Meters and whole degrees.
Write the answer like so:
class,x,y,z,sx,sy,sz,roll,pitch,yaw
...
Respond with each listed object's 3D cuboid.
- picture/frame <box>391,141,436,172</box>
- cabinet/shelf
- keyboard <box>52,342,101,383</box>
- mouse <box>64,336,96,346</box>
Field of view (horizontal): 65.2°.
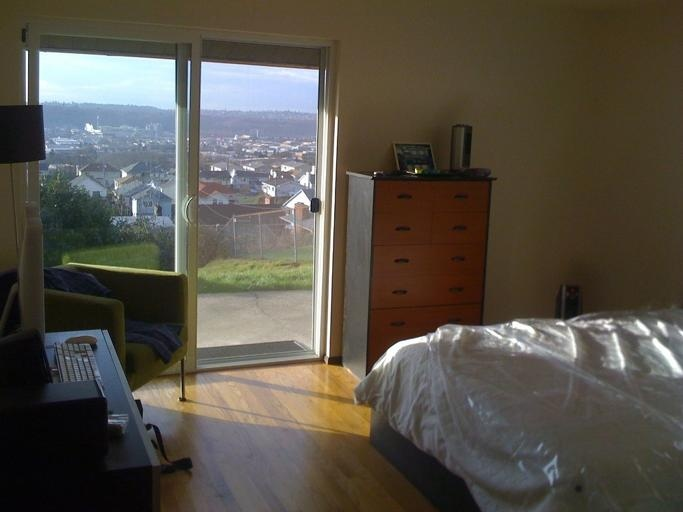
class,x,y,z,sx,sy,sz,roll,pitch,yaw
picture/frame,0.608,-0.771,4.171,0.389,0.210,0.205,-2,14,-17
cabinet/shelf,0.634,0.067,4.212,0.924,1.510,0.554,-2,21,-5
keyboard,-1.154,0.457,2.297,0.114,0.025,0.312,5,16,-23
mouse,-1.240,0.399,2.538,0.111,0.030,0.057,3,6,-11
